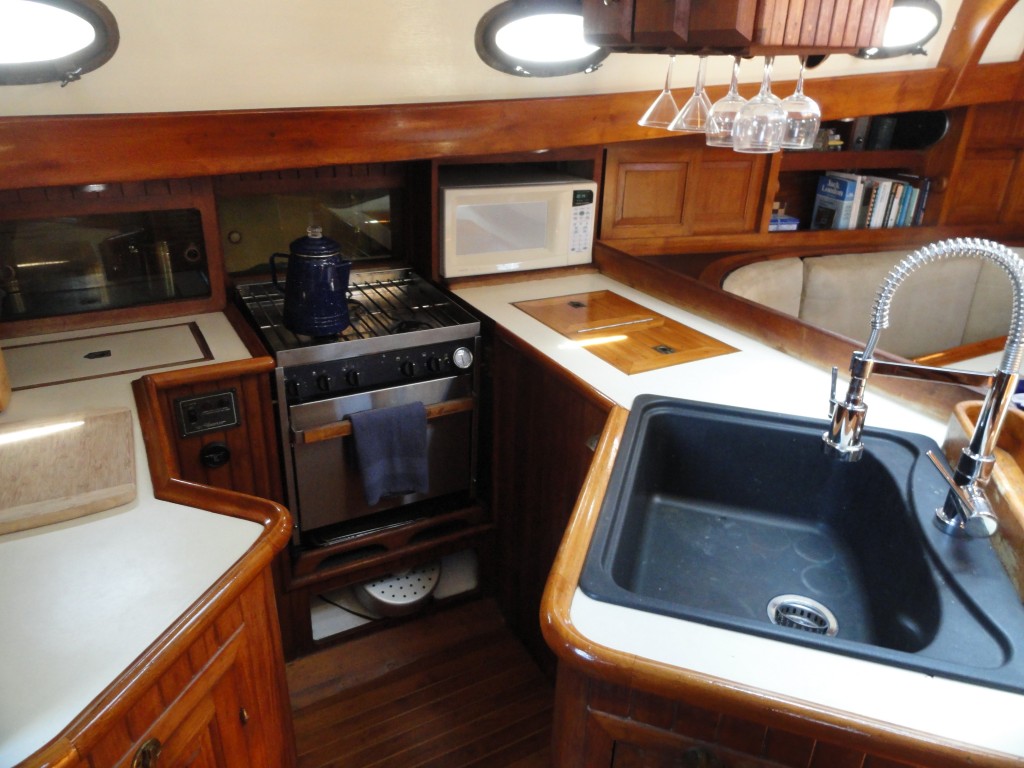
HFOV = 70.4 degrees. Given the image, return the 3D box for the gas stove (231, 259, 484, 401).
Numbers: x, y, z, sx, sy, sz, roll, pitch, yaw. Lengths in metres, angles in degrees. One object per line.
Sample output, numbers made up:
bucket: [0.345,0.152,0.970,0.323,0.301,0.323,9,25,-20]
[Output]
gas stove: [-0.527,-0.200,2.471,0.702,0.232,0.626,-14,35,-32]

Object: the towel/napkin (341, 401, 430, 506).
towel/napkin: [-0.385,0.208,2.287,0.295,0.300,0.082,-13,19,-31]

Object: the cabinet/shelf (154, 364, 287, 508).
cabinet/shelf: [-0.802,0.122,1.963,0.233,0.414,0.224,-18,44,-24]

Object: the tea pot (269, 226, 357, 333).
tea pot: [-0.573,-0.361,2.319,0.324,0.364,0.245,-1,35,-10]

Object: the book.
book: [1.652,-0.887,3.484,0.531,0.175,0.414,-8,32,-8]
